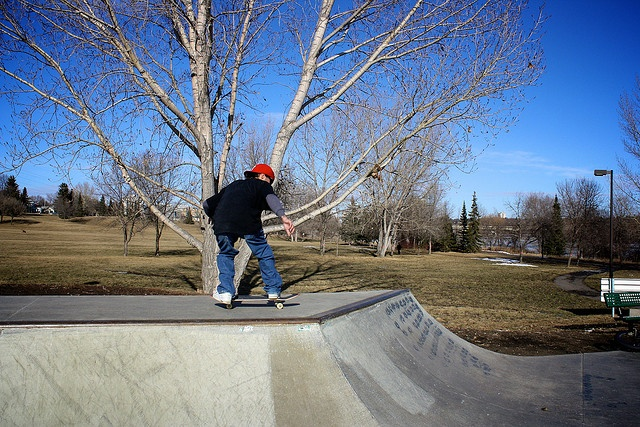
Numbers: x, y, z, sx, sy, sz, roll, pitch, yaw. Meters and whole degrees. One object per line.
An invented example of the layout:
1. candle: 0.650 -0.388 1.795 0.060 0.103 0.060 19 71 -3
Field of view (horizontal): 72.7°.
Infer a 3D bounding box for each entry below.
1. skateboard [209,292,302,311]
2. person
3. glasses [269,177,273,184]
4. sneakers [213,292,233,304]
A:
1. skateboard: -1.056 1.427 7.188 1.531 0.273 0.440 2 0 -2
2. person: -1.213 0.346 7.027 1.423 2.372 0.696 3 2 2
3. glasses: -0.814 -0.554 7.292 0.061 0.067 0.071 8 15 40
4. sneakers: -1.558 1.331 6.983 0.329 0.155 0.156 8 11 25
